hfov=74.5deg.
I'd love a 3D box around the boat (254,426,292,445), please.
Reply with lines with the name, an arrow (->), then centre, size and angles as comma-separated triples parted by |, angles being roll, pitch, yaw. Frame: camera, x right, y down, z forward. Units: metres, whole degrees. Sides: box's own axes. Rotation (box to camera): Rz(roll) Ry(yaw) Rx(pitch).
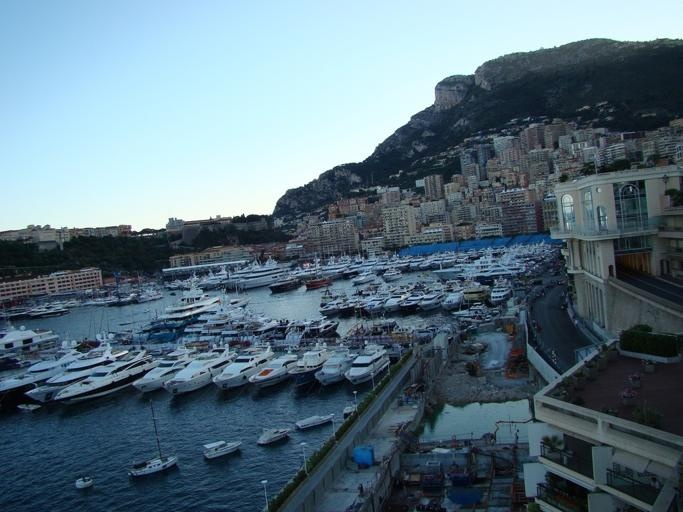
boat -> -4.649, 12.447, 30.840 | 1.808, 0.569, 1.030 | -8, 15, -35

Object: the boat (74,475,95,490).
boat -> -16.255, 14.490, 28.470 | 1.008, 0.369, 0.721 | -2, 23, -21

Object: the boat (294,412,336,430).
boat -> -1.962, 11.981, 32.294 | 2.125, 0.482, 1.292 | -7, 10, -16

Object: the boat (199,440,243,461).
boat -> -7.911, 12.887, 29.784 | 2.022, 0.632, 1.109 | -7, 13, -6
